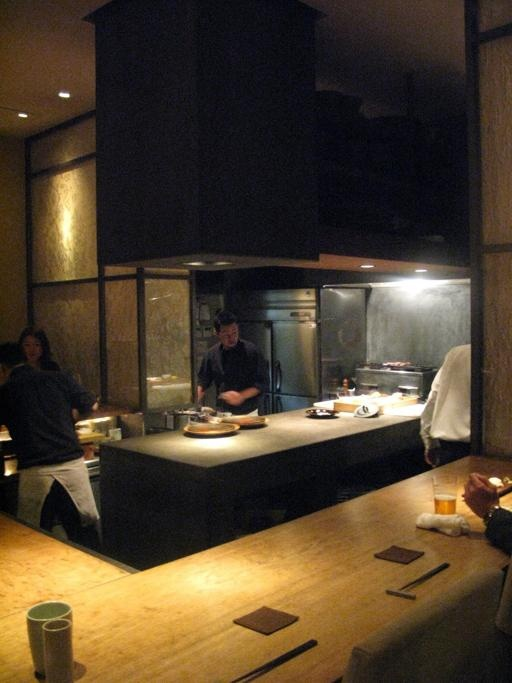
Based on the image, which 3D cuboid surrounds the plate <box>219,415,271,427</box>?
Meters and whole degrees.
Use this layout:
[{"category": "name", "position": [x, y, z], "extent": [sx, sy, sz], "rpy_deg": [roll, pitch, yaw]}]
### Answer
[{"category": "plate", "position": [-0.075, 0.503, 3.479], "extent": [0.286, 0.060, 0.344], "rpy_deg": [-3, -2, 4]}]

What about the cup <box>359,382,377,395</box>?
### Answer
[{"category": "cup", "position": [1.013, 0.442, 5.215], "extent": [0.085, 0.093, 0.254], "rpy_deg": [-1, -3, -29]}]

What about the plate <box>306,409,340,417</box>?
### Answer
[{"category": "plate", "position": [0.450, 0.500, 3.861], "extent": [0.217, 0.056, 0.268], "rpy_deg": [-3, -2, 6]}]

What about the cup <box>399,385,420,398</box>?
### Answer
[{"category": "cup", "position": [1.310, 0.433, 4.891], "extent": [0.100, 0.086, 0.205], "rpy_deg": [0, -3, -40]}]

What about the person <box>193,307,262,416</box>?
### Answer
[{"category": "person", "position": [-0.225, 0.180, 4.527], "extent": [0.592, 0.813, 0.390], "rpy_deg": [-3, -3, 14]}]

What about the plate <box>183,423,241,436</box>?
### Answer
[{"category": "plate", "position": [-0.258, 0.513, 3.222], "extent": [0.327, 0.063, 0.288], "rpy_deg": [-2, -2, -3]}]
